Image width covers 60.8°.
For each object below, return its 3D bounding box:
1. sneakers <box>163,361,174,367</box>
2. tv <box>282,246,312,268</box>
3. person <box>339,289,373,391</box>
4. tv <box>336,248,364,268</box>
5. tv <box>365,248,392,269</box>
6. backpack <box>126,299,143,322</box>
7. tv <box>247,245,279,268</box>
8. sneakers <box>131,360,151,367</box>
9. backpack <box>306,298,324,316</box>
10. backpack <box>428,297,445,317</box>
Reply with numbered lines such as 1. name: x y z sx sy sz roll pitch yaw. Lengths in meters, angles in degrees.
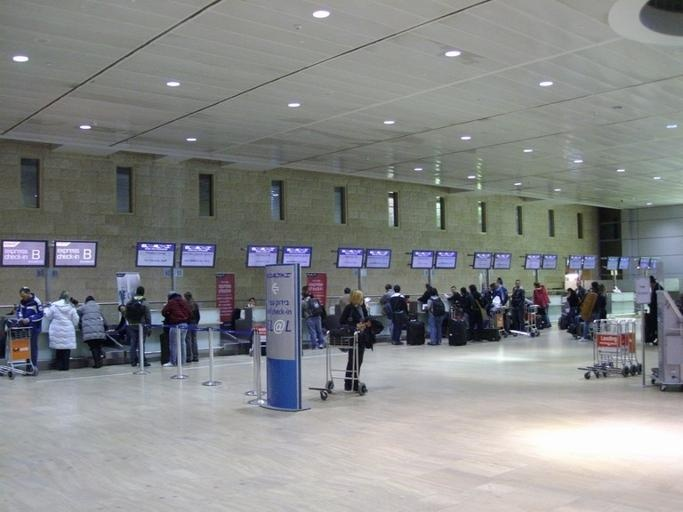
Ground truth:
1. sneakers: -4.413 2.785 14.831 0.333 0.114 0.108 -1 -9 27
2. tv: -1.681 0.000 20.826 0.646 0.657 1.400 -2 -4 19
3. person: 0.181 1.578 10.668 0.559 1.834 0.472 -1 -3 3
4. tv: 0.112 0.102 21.466 1.099 0.710 0.345 2 -4 -34
5. tv: 1.212 0.088 22.312 0.335 0.707 1.152 -4 -5 41
6. backpack: -5.130 1.391 14.526 0.513 0.618 0.169 -1 -3 8
7. tv: -2.856 0.009 20.365 1.169 0.741 0.629 1 -4 -22
8. sneakers: -5.047 2.767 14.871 0.515 0.167 0.150 3 -8 -11
9. backpack: -0.959 1.599 17.840 0.378 0.605 0.559 -28 -26 37
10. backpack: 2.865 1.660 18.911 0.548 0.564 0.690 0 -9 1
